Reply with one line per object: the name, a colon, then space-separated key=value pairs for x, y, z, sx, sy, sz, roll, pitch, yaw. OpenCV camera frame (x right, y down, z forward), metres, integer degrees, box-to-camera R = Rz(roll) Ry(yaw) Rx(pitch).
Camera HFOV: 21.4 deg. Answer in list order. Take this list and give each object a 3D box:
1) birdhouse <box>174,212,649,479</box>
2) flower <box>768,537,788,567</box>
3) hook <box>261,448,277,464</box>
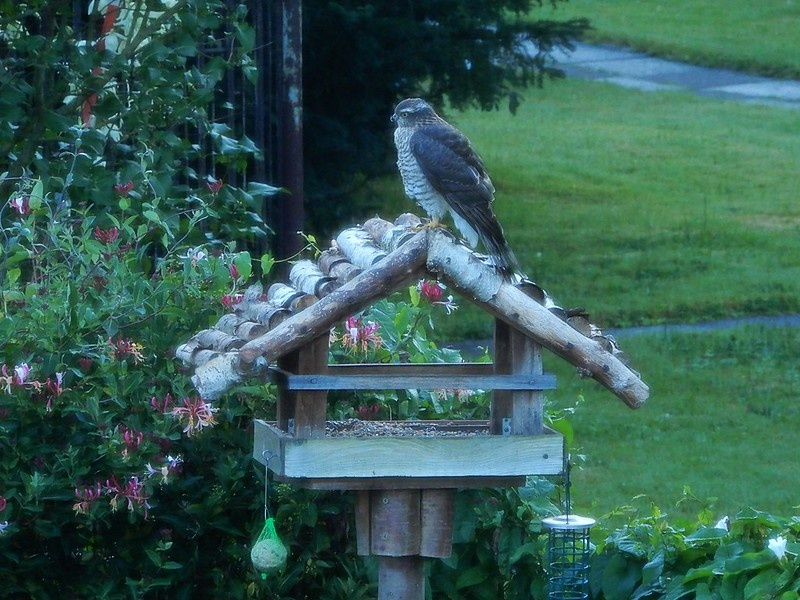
birdhouse: x=0.092 y=0.208 z=11.406 sx=2.295 sy=1.379 sz=1.548 roll=0 pitch=10 yaw=-2
flower: x=1.952 y=1.285 z=10.856 sx=0.100 sy=0.096 sz=0.101 roll=1 pitch=-22 yaw=5
hook: x=-0.688 y=0.814 z=10.937 sx=0.057 sy=0.082 sz=0.019 roll=8 pitch=16 yaw=38
